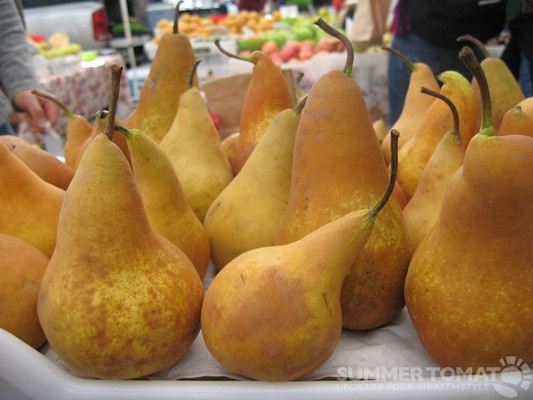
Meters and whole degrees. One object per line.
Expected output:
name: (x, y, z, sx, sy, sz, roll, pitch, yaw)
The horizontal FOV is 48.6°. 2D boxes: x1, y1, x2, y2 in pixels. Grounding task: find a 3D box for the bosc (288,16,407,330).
bosc: (0.144, -0.036, 1.128, 0.233, 0.606, 0.244, 2, 13, 27)
